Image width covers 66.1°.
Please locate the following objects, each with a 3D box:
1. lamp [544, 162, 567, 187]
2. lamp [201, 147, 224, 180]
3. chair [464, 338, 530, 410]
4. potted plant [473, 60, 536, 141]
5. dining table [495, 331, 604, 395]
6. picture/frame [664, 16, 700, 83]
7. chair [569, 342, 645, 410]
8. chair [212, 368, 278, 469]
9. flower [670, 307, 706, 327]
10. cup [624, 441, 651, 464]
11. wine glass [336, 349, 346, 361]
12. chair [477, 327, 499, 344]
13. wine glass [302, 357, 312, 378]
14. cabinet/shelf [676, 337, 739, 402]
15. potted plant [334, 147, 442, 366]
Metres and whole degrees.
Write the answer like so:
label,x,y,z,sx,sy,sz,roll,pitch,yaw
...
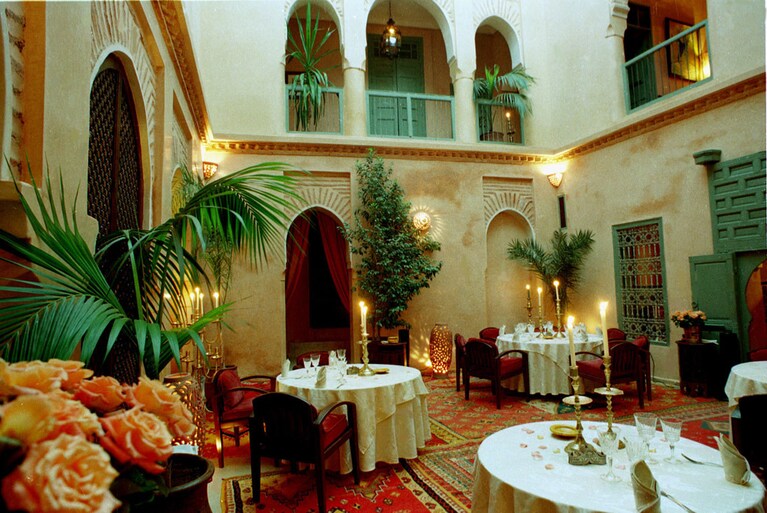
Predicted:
label,x,y,z,sx,sy,sz,roll,pitch,yaw
lamp,3.208,-1.527,11.110,0.418,0.523,0.372,-3,-5,15
lamp,-2.808,-1.714,9.870,0.322,0.437,0.364,14,37,1
chair,1.594,1.550,8.436,0.727,0.957,0.730,-3,4,44
potted plant,2.204,-2.947,11.474,1.430,1.599,1.312,-3,6,-11
dining table,2.291,1.481,8.599,0.978,0.565,1.040,-1,-10,2
picture/frame,5.720,-4.050,11.343,0.566,1.593,1.195,-2,-7,27
chair,3.152,1.566,7.980,0.693,0.794,0.714,-6,-3,32
chair,-1.514,1.767,6.739,0.676,1.009,0.904,-4,-1,-6
flower,4.309,0.873,8.395,0.274,0.212,0.290,0,-10,0
cup,1.813,1.388,4.232,0.160,0.165,0.077,2,-6,-10
wine glass,-0.491,1.162,6.910,0.096,0.131,0.071,4,-6,-27
chair,1.705,1.271,9.612,0.227,0.313,0.260,-4,-17,26
wine glass,-0.857,1.251,6.724,0.137,0.233,0.131,-1,-2,-23
cabinet/shelf,4.625,1.516,8.497,0.699,1.162,0.797,-1,-1,-10
potted plant,0.084,-0.245,9.955,1.484,3.198,0.710,2,-5,-6
